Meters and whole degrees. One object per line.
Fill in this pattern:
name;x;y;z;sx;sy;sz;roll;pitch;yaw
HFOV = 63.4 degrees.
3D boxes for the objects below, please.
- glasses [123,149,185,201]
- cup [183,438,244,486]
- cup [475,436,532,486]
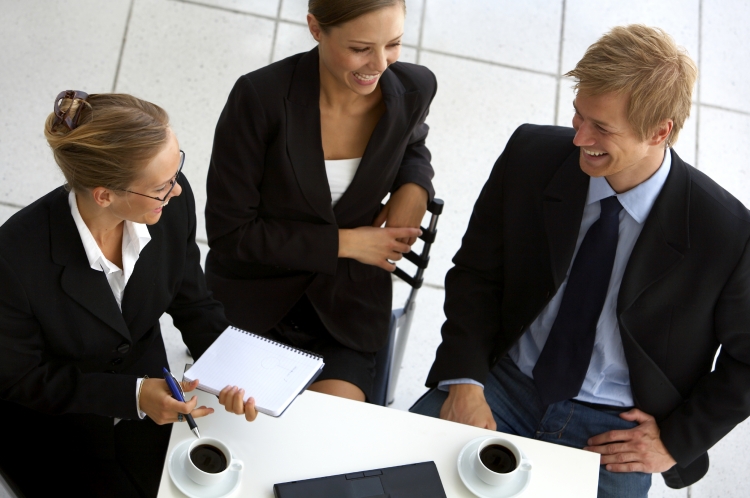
glasses;-0.603;-0.204;1.696;0.142;0.149;0.040;-5;36;-2
cup;-0.389;0.517;1.481;0.123;0.079;0.093;15;47;-19
cup;0.324;0.537;1.559;0.127;0.091;0.099;12;59;2
